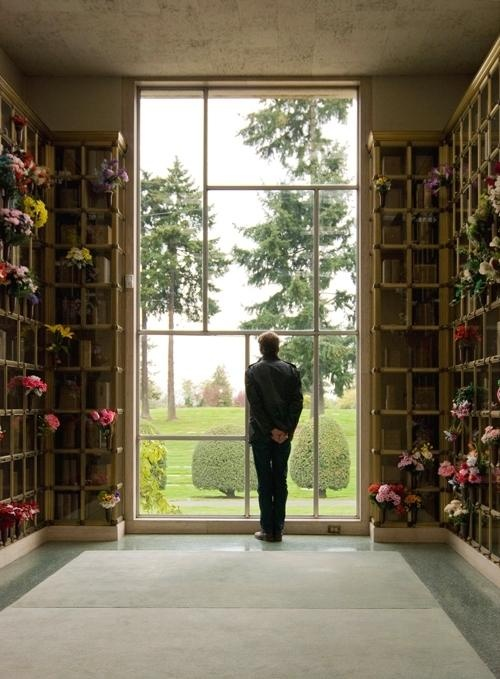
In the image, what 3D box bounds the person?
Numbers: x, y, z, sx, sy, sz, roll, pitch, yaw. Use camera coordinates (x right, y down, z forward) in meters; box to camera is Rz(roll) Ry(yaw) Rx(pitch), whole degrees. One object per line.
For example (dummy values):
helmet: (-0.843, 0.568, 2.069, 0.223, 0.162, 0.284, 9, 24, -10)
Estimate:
person: (0.170, 0.791, 5.116, 0.411, 1.266, 0.208, 0, -5, -1)
